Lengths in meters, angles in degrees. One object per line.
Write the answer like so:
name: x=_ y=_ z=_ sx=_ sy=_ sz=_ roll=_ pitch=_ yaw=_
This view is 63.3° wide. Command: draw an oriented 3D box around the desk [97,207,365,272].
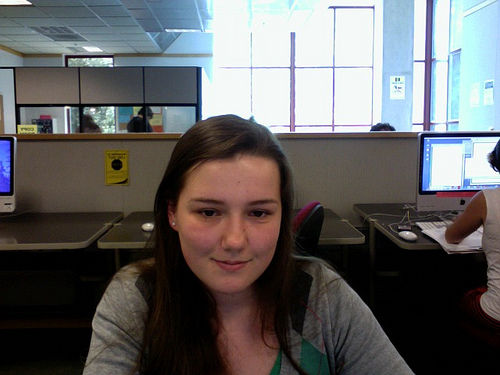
desk: x=-0.119 y=0.265 z=2.658 sx=1.566 sy=0.338 sz=0.799 roll=-2 pitch=10 yaw=-6

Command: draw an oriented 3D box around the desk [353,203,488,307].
desk: x=1.098 y=0.379 z=2.744 sx=0.824 sy=0.494 sz=0.812 roll=0 pitch=13 yaw=3

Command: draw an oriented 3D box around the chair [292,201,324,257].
chair: x=0.288 y=0.225 z=2.014 sx=0.145 sy=0.262 sz=0.276 roll=1 pitch=10 yaw=9

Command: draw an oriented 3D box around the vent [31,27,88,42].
vent: x=-3.742 y=-3.015 z=7.920 sx=0.711 sy=0.079 sz=0.926 roll=-1 pitch=10 yaw=0

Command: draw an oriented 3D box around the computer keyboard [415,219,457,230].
computer keyboard: x=1.212 y=0.237 z=2.605 sx=0.345 sy=0.019 sz=0.154 roll=-4 pitch=10 yaw=-19
